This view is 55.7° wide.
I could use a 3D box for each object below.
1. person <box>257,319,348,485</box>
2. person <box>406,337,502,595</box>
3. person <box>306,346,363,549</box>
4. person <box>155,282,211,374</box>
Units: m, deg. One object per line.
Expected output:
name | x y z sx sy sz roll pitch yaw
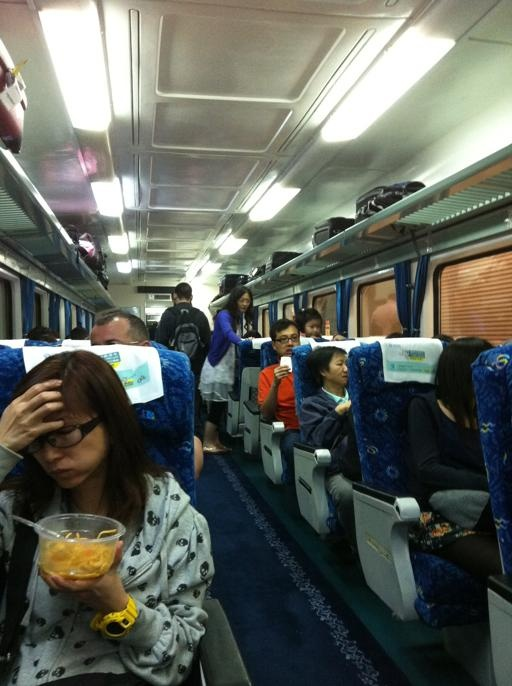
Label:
person | 0.291 0.380 4.724 0.630 1.148 0.599 3 6 -24
person | 0.823 0.424 2.065 0.382 1.041 0.731 -2 0 16
person | 0.482 0.650 3.212 0.513 1.141 0.475 2 5 -13
person | -0.996 -0.206 6.680 0.680 1.289 0.737 5 0 -18
